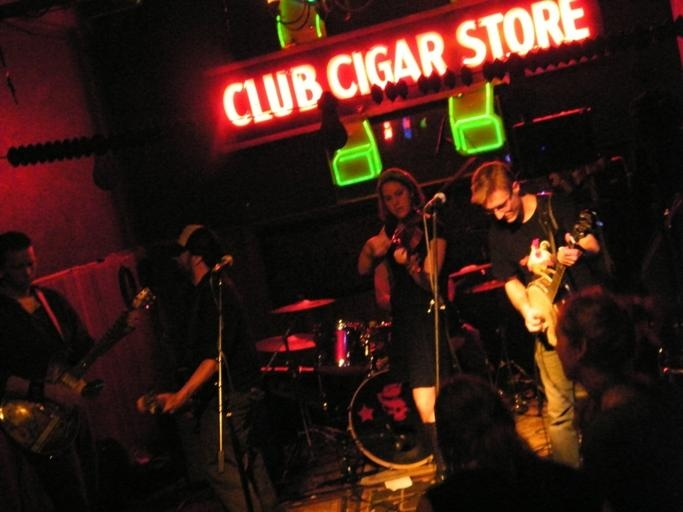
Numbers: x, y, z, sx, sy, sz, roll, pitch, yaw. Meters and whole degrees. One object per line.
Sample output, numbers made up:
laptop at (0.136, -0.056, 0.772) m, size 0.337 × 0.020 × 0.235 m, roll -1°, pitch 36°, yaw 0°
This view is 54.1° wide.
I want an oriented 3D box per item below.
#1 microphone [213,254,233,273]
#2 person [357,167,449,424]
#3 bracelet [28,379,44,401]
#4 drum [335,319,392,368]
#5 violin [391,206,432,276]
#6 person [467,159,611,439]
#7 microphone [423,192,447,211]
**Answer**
microphone at (-0.902, 0.073, 5.004) m, size 0.177 × 0.094 × 0.072 m, roll -39°, pitch -28°, yaw 14°
person at (0.598, 0.335, 5.864) m, size 0.574 × 1.838 × 0.745 m, roll -12°, pitch 4°, yaw 2°
bracelet at (-2.411, 1.066, 5.261) m, size 0.125 × 0.173 × 0.054 m, roll -15°, pitch 5°, yaw -25°
drum at (0.212, 0.870, 6.522) m, size 0.469 × 0.498 × 0.163 m, roll -5°, pitch -15°, yaw 22°
violin at (0.606, -0.144, 5.783) m, size 0.140 × 0.581 × 0.278 m, roll 20°, pitch -29°, yaw -38°
person at (1.584, 0.365, 5.294) m, size 0.301 × 2.352 × 0.883 m, roll -4°, pitch -16°, yaw -30°
microphone at (0.719, -0.417, 5.258) m, size 0.174 × 0.115 × 0.382 m, roll -13°, pitch 5°, yaw 7°
